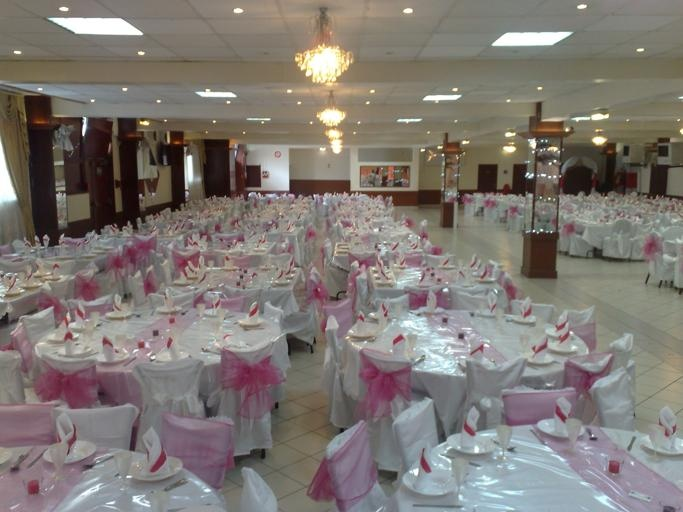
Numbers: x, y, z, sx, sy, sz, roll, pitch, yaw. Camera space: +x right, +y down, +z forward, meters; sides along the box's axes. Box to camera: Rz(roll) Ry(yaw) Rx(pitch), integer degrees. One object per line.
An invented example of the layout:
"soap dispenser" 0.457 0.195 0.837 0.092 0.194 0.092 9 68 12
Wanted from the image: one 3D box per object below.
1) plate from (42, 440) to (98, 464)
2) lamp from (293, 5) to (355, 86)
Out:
"plate" -1.779 1.318 3.501 0.188 0.032 0.208 3 8 -1
"lamp" -0.184 -2.527 6.381 0.659 0.962 0.701 1 12 6
